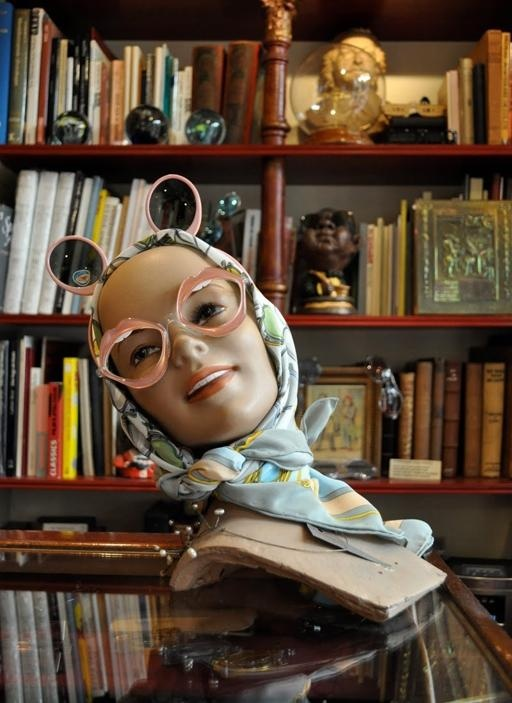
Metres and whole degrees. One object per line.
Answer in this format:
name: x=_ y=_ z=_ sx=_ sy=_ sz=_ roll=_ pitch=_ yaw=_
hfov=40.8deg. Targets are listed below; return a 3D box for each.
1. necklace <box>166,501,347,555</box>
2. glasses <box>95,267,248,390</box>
necklace: x=0.008 y=0.186 z=0.726 sx=0.124 sy=0.038 sz=0.044 roll=12 pitch=42 yaw=29
glasses: x=-0.092 y=-0.025 z=0.792 sx=0.231 sy=0.082 sz=0.036 roll=-31 pitch=-5 yaw=28
